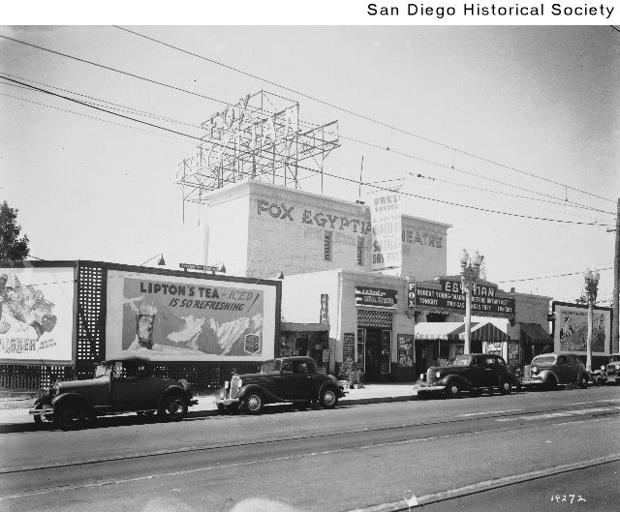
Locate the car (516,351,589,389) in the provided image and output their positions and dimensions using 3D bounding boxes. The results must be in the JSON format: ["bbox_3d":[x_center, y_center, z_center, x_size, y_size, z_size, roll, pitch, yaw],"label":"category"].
[{"bbox_3d":[10.714,4.971,34.522,3.256,1.493,1.091,8,-11,-30],"label":"car"}]

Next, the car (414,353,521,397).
[{"bbox_3d":[6.050,4.599,30.349,4.314,1.772,1.079,10,-11,-34],"label":"car"}]
